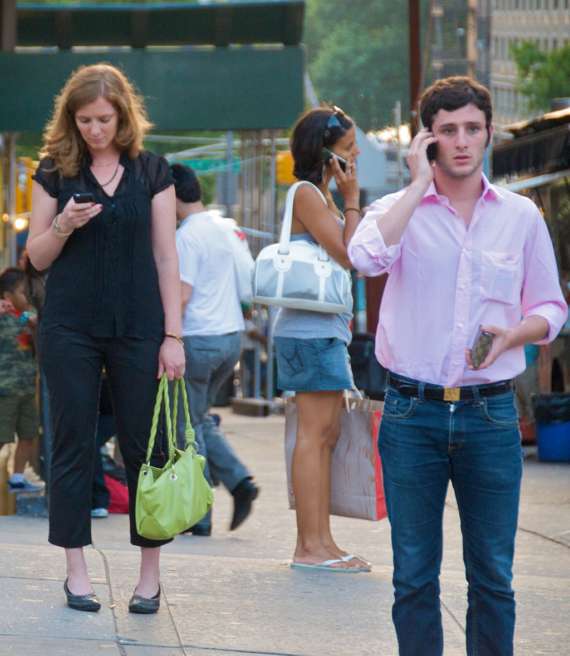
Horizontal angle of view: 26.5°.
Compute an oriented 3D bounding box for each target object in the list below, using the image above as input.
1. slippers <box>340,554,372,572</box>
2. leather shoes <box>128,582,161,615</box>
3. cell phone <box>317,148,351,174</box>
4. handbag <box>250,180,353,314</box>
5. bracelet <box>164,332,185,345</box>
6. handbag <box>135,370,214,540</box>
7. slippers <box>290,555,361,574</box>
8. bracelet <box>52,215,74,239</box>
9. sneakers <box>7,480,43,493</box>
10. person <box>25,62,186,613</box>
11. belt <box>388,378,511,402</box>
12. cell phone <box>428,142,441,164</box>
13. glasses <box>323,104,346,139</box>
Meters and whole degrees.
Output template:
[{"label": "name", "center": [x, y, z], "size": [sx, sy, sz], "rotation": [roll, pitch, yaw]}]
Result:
[{"label": "slippers", "center": [0.345, 1.068, 5.567], "size": [0.056, 0.052, 0.158], "rotation": [-6, -18, 42]}, {"label": "leather shoes", "center": [-0.542, 1.047, 4.736], "size": [0.089, 0.092, 0.247], "rotation": [-1, -9, 9]}, {"label": "cell phone", "center": [0.211, -0.765, 5.508], "size": [0.029, 0.106, 0.105], "rotation": [-18, 36, -38]}, {"label": "handbag", "center": [0.088, -0.362, 5.408], "size": [0.451, 0.585, 0.270], "rotation": [4, 3, 1]}, {"label": "bracelet", "center": [-0.432, 0.031, 4.745], "size": [0.055, 0.022, 0.049], "rotation": [31, 4, 7]}, {"label": "handbag", "center": [-0.413, 0.497, 4.723], "size": [0.282, 0.641, 0.432], "rotation": [4, 3, 10]}, {"label": "slippers", "center": [0.196, 1.069, 5.521], "size": [0.203, 0.048, 0.107], "rotation": [-2, -2, 8]}, {"label": "bracelet", "center": [-0.832, -0.381, 4.527], "size": [0.066, 0.076, 0.032], "rotation": [14, 9, 2]}, {"label": "sneakers", "center": [-1.487, 0.907, 7.013], "size": [0.227, 0.092, 0.086], "rotation": [0, 0, 11]}, {"label": "person", "center": [-0.688, 0.036, 4.668], "size": [0.620, 2.111, 0.370], "rotation": [3, 3, -13]}, {"label": "belt", "center": [0.536, 0.196, 3.960], "size": [0.390, 0.077, 0.127], "rotation": [4, 3, 5]}, {"label": "cell phone", "center": [0.484, -0.581, 4.004], "size": [0.059, 0.085, 0.046], "rotation": [1, 0, -1]}, {"label": "glasses", "center": [0.225, -0.923, 5.516], "size": [0.040, 0.133, 0.133], "rotation": [24, 24, -5]}]
